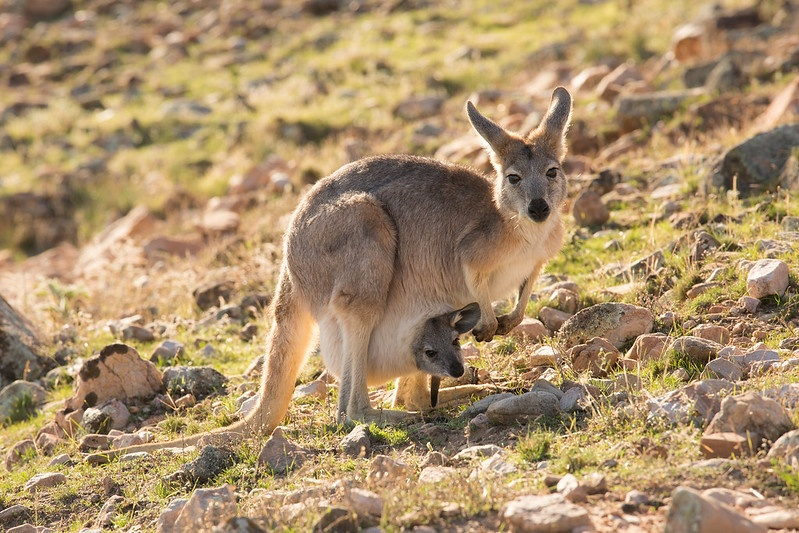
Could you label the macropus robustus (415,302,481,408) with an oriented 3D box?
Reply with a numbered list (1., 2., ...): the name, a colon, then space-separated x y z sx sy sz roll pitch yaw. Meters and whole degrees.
1. macropus robustus: 0.639 1.300 17.410 0.669 0.728 1.419 -13 -31 -23
